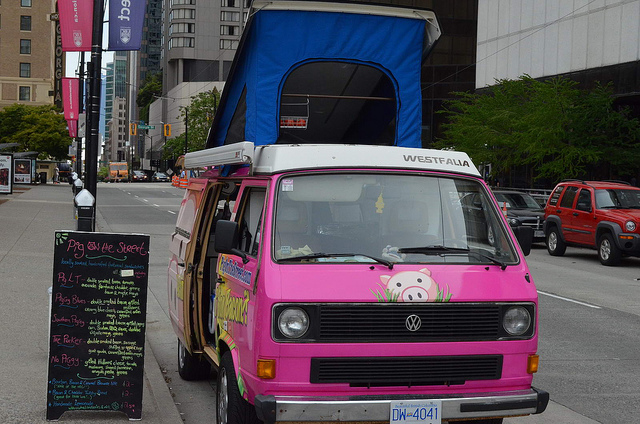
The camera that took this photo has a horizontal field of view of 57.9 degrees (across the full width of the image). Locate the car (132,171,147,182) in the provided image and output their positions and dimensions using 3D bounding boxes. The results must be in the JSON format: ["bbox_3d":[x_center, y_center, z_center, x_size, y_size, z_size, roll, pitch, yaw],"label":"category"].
[{"bbox_3d":[-33.154,-6.448,105.990,2.031,1.732,4.539,0,7,-25],"label":"car"}]

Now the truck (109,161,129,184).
[{"bbox_3d":[-36.675,-7.019,104.775,3.919,4.370,6.716,0,2,-20],"label":"truck"}]
